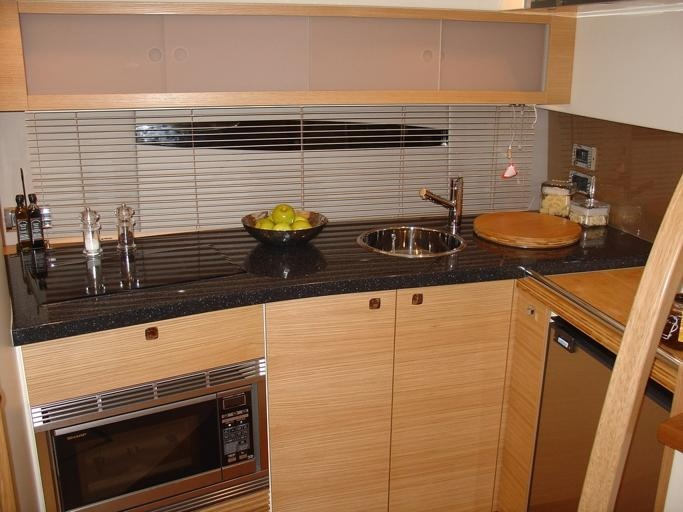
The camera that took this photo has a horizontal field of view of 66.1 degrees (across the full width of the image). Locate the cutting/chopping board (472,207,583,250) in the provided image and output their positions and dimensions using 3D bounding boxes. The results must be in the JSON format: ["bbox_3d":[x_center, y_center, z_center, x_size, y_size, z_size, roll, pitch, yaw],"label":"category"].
[{"bbox_3d":[0.892,-0.131,2.522,0.468,0.099,0.466,11,20,39],"label":"cutting/chopping board"}]

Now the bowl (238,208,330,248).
[{"bbox_3d":[-0.267,-0.081,2.316,0.359,0.268,0.088,3,-30,-5],"label":"bowl"}]

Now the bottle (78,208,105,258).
[{"bbox_3d":[-1.094,-0.113,2.272,0.097,0.213,0.155,-14,21,-23],"label":"bottle"}]

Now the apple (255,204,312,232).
[{"bbox_3d":[-0.261,-0.162,2.345,0.200,0.078,0.176,6,13,27],"label":"apple"}]
